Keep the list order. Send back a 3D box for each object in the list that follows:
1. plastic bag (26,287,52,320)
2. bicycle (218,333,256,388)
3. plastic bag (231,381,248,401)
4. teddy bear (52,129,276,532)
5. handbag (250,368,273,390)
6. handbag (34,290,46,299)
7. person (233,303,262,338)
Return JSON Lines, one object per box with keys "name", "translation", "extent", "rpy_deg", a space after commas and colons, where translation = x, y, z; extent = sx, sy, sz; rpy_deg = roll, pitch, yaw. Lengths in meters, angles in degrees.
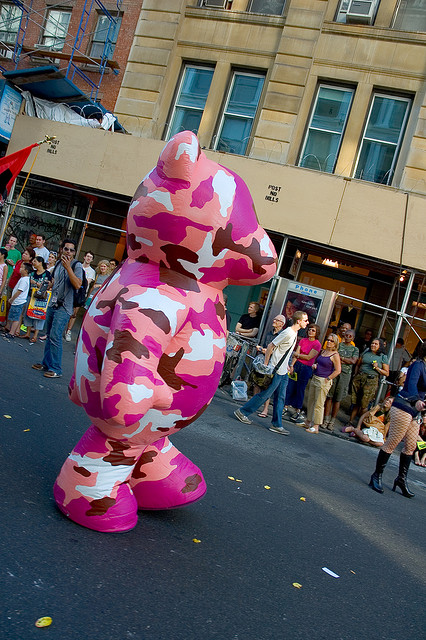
{"name": "plastic bag", "translation": [-2.862, -0.236, 9.104], "extent": [0.328, 0.521, 0.309], "rpy_deg": [20, 2, -18]}
{"name": "bicycle", "translation": [0.369, 0.842, 10.373], "extent": [0.383, 1.077, 0.446], "rpy_deg": [20, 2, -17]}
{"name": "plastic bag", "translation": [0.448, 1.235, 9.236], "extent": [0.260, 0.313, 0.260], "rpy_deg": [0, -4, 6]}
{"name": "teddy bear", "translation": [-0.294, 0.129, 3.018], "extent": [0.839, 2.273, 0.666], "rpy_deg": [21, 2, -11]}
{"name": "handbag", "translation": [0.667, 0.842, 7.761], "extent": [0.284, 0.220, 0.231], "rpy_deg": [23, -2, 7]}
{"name": "handbag", "translation": [-2.765, -0.403, 8.936], "extent": [0.133, 0.088, 0.133], "rpy_deg": [0, -1, 36]}
{"name": "person", "translation": [0.715, 0.030, 11.160], "extent": [0.441, 0.695, 0.505], "rpy_deg": [34, 9, 23]}
